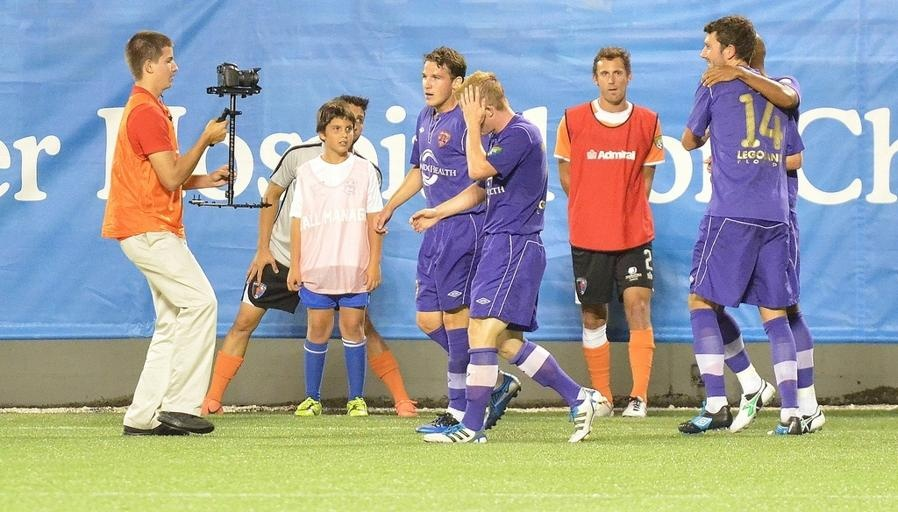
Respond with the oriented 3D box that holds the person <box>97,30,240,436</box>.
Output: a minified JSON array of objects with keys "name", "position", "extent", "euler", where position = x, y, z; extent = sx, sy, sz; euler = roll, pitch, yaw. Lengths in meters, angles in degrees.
[{"name":"person","position":[-2.089,-0.161,9.378],"extent":[0.891,2.789,0.351],"euler":[1,0,-3]}]

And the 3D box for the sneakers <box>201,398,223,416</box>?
[{"name":"sneakers","position":[-1.916,1.247,10.427],"extent":[0.211,0.170,0.110],"euler":[1,-6,-12]}]

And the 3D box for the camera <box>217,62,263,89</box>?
[{"name":"camera","position":[-1.563,-1.327,9.592],"extent":[0.263,0.124,0.270],"euler":[-1,6,-9]}]

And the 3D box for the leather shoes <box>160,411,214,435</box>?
[{"name":"leather shoes","position":[-1.913,1.234,9.435],"extent":[0.469,0.175,0.148],"euler":[7,-11,-3]}]

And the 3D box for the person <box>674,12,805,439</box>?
[{"name":"person","position":[2.225,0.017,9.593],"extent":[0.884,2.200,0.326],"euler":[1,0,-4]}]

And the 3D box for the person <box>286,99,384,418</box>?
[{"name":"person","position":[-0.922,0.031,10.405],"extent":[0.726,2.247,0.285],"euler":[1,0,-9]}]

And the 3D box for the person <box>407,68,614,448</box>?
[{"name":"person","position":[0.429,0.022,9.207],"extent":[1.064,2.204,0.292],"euler":[1,0,-13]}]
